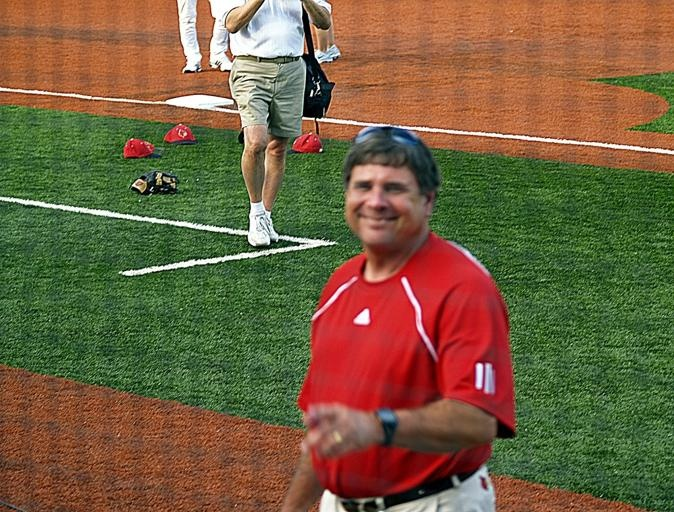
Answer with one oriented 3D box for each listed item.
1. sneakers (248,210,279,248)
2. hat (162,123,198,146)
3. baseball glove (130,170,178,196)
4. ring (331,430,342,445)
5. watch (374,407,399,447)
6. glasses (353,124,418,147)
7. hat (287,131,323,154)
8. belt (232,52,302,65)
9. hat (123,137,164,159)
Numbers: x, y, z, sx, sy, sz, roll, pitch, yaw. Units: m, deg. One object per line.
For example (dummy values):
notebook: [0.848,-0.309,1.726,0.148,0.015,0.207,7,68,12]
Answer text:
sneakers: [-0.605,-0.216,7.972,0.175,0.127,0.318,-1,23,-20]
hat: [-1.810,-1.408,11.330,0.373,0.238,0.324,1,5,-10]
baseball glove: [-1.754,-0.710,9.490,0.357,0.148,0.248,-4,11,-33]
ring: [0.000,0.607,3.288,0.034,0.041,0.008,2,5,0]
watch: [0.172,0.591,3.387,0.083,0.118,0.046,1,5,-11]
glasses: [0.212,-0.460,3.674,0.127,0.036,0.124,5,-2,44]
hat: [-0.343,-1.245,10.785,0.204,0.191,0.323,4,2,-45]
belt: [-0.555,-1.622,8.030,0.541,0.097,0.214,2,5,-8]
hat: [-2.155,-1.185,10.737,0.350,0.158,0.224,-7,29,-12]
